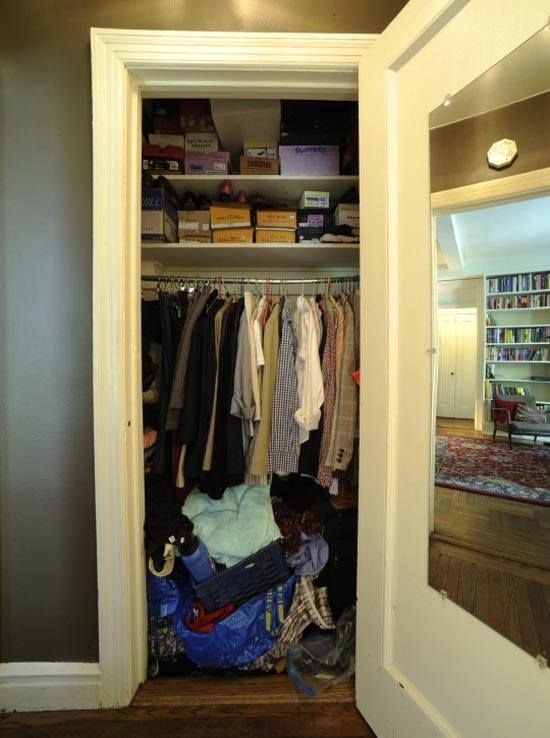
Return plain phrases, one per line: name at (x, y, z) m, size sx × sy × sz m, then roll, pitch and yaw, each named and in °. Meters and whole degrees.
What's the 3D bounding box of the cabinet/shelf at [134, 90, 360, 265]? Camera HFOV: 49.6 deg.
cabinet/shelf at (-0.110, -0.800, 2.497) m, size 0.910 × 0.740 × 0.542 m, roll -2°, pitch 3°, yaw 7°
